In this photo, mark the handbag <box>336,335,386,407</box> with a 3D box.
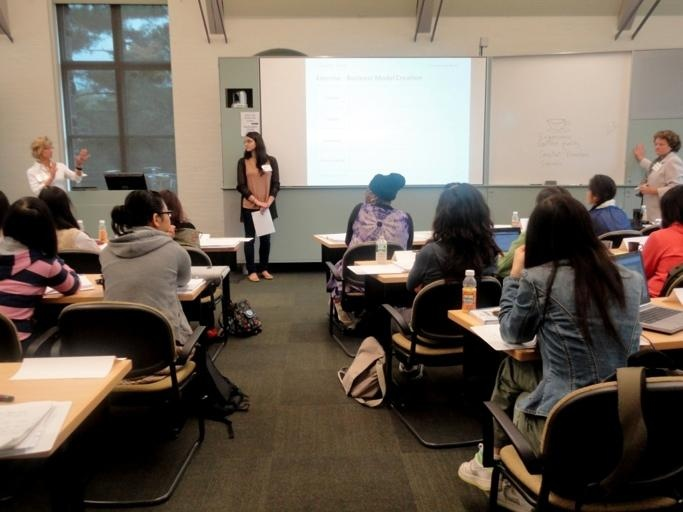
[{"bbox_3d":[0.162,0.762,3.543,0.134,0.388,0.283,1,28,-39],"label":"handbag"}]

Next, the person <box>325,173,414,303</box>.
[{"bbox_3d":[0.297,-0.205,4.729,0.743,1.101,0.811,12,17,38],"label":"person"}]

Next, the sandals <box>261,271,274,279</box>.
[{"bbox_3d":[-0.917,0.242,6.760,0.063,0.081,0.189,-4,-1,-25],"label":"sandals"}]

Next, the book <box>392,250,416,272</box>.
[{"bbox_3d":[0.454,0.032,3.916,0.113,0.058,0.162,0,14,-8],"label":"book"}]

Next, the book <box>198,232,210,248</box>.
[{"bbox_3d":[-1.212,-0.141,4.812,0.124,0.134,0.189,-11,1,-25],"label":"book"}]

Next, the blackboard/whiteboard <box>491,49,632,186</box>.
[{"bbox_3d":[2.727,-1.747,6.677,1.809,1.732,0.127,0,5,-2],"label":"blackboard/whiteboard"}]

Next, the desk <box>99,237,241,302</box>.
[{"bbox_3d":[-1.039,0.082,3.291,0.442,0.312,0.314,0,11,2],"label":"desk"}]

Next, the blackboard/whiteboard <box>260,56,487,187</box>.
[{"bbox_3d":[0.336,-1.742,6.693,1.945,1.186,0.028,0,9,-2],"label":"blackboard/whiteboard"}]

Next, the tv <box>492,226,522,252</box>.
[{"bbox_3d":[1.250,-0.128,4.122,0.163,0.239,0.229,6,8,44],"label":"tv"}]

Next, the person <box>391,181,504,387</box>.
[{"bbox_3d":[0.749,0.150,3.548,0.632,1.276,0.738,13,18,14],"label":"person"}]

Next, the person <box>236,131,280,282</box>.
[{"bbox_3d":[-0.959,-0.594,6.590,0.532,1.801,0.593,-7,14,-24],"label":"person"}]

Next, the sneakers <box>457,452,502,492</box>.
[{"bbox_3d":[0.688,1.055,2.762,0.093,0.206,0.201,0,6,-39],"label":"sneakers"}]

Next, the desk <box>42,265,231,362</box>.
[{"bbox_3d":[-1.147,0.297,2.941,0.605,0.327,0.448,1,9,0],"label":"desk"}]

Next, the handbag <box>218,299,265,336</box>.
[{"bbox_3d":[-0.852,0.528,4.669,0.214,0.120,0.315,-4,32,-27],"label":"handbag"}]

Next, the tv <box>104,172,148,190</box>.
[{"bbox_3d":[-2.496,-0.839,6.226,0.567,0.215,0.264,6,15,25],"label":"tv"}]

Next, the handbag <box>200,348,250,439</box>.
[{"bbox_3d":[-0.786,0.841,3.369,0.174,0.482,0.339,-17,5,20],"label":"handbag"}]
